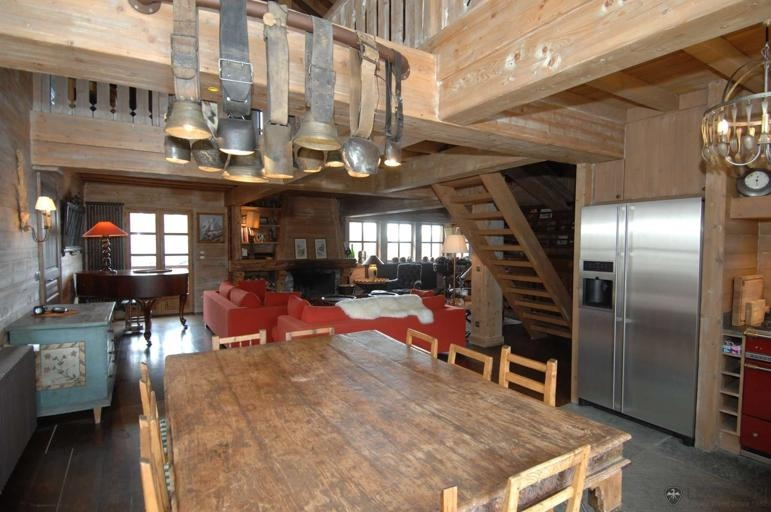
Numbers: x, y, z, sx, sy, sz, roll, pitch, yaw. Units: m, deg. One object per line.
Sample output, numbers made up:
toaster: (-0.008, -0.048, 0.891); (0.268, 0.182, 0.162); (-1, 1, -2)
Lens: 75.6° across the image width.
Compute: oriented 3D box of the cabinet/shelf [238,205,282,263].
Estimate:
cabinet/shelf: (-2.770, -0.476, 10.800); (0.392, 1.228, 1.240); (-5, -10, 38)

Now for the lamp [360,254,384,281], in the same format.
lamp: (-0.262, 0.262, 11.364); (0.608, 0.580, 0.572); (-2, 5, -14)

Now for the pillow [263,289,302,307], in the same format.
pillow: (-1.573, 0.591, 7.112); (0.434, 0.157, 0.390); (0, 5, -31)

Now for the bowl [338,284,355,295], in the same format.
bowl: (-0.883, 0.756, 11.214); (0.290, 0.273, 0.281); (1, 6, 0)

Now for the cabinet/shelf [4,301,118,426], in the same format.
cabinet/shelf: (-3.419, 1.228, 5.456); (1.004, 1.160, 1.740); (-3, 7, -30)

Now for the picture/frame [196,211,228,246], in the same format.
picture/frame: (-3.603, -0.565, 10.166); (0.744, 0.606, 0.071); (-5, 12, -36)

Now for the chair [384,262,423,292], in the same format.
chair: (0.448, 0.528, 13.035); (0.753, 0.873, 0.768); (-1, -6, 20)

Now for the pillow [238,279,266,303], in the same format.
pillow: (-1.953, 0.517, 7.211); (0.337, 0.336, 0.137); (1, -3, -37)

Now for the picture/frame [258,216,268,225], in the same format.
picture/frame: (-2.737, -0.775, 10.998); (0.249, 0.201, 0.056); (5, -12, -23)
